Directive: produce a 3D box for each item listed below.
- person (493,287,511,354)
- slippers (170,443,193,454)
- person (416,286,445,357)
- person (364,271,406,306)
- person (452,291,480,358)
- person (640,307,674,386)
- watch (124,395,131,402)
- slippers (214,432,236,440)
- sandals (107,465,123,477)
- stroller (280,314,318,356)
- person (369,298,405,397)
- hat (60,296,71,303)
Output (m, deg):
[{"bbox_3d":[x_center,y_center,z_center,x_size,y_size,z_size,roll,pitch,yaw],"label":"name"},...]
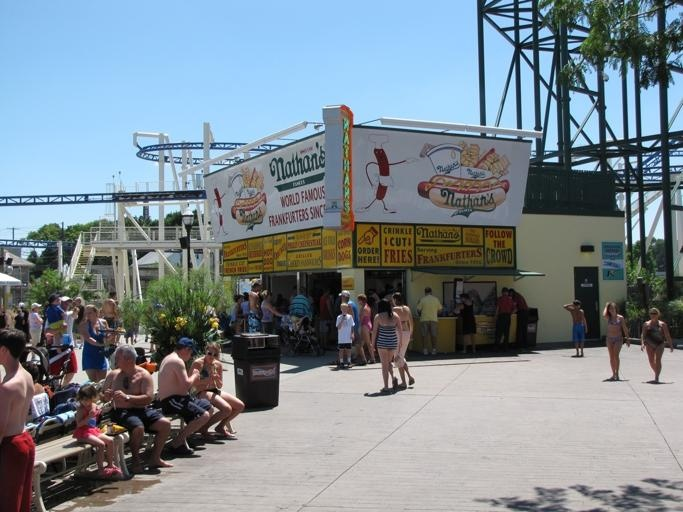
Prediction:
[{"bbox_3d":[4.809,1.854,26.352,0.510,1.782,0.924,-2,-1,14],"label":"person"},{"bbox_3d":[-2.667,3.203,14.732,0.418,0.176,0.163,-1,-3,24],"label":"slippers"},{"bbox_3d":[2.545,1.879,25.480,0.754,1.862,0.866,-2,-1,-21],"label":"person"},{"bbox_3d":[1.439,1.203,30.060,1.314,1.601,0.805,1,5,20],"label":"person"},{"bbox_3d":[3.655,1.967,26.077,0.576,1.726,1.026,-2,-1,7],"label":"person"},{"bbox_3d":[7.237,1.992,20.430,0.597,1.744,2.300,-2,-1,20],"label":"person"},{"bbox_3d":[-3.395,2.266,14.080,0.073,0.093,0.024,1,-5,-9],"label":"watch"},{"bbox_3d":[-2.012,3.142,15.483,0.369,0.204,0.140,1,2,4],"label":"slippers"},{"bbox_3d":[-3.481,3.286,13.624,0.153,0.112,0.209,8,-8,-4],"label":"sandals"},{"bbox_3d":[-1.221,2.237,25.757,1.096,1.434,0.845,3,1,-24],"label":"stroller"},{"bbox_3d":[1.032,1.934,19.353,0.640,1.945,0.981,-2,-1,1],"label":"person"},{"bbox_3d":[-6.510,1.044,20.947,0.226,0.147,0.325,3,-9,-32],"label":"hat"}]
